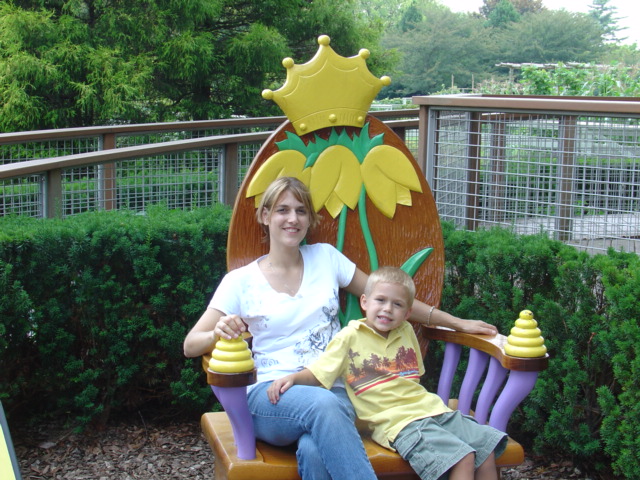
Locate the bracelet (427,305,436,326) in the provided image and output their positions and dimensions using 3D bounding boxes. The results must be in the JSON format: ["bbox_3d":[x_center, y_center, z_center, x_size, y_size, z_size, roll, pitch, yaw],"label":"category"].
[{"bbox_3d":[0.554,0.378,3.136,0.017,0.074,0.071,10,11,15],"label":"bracelet"}]

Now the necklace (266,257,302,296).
[{"bbox_3d":[-0.180,0.154,3.108,0.154,0.186,0.176,-6,13,-15],"label":"necklace"}]
